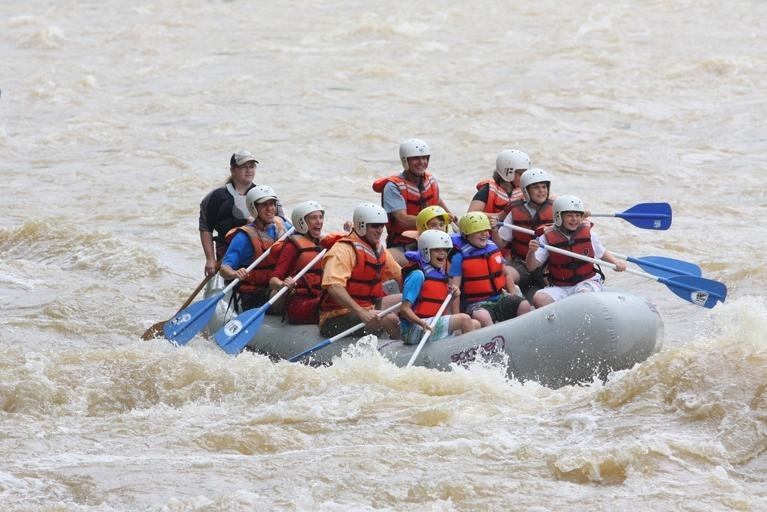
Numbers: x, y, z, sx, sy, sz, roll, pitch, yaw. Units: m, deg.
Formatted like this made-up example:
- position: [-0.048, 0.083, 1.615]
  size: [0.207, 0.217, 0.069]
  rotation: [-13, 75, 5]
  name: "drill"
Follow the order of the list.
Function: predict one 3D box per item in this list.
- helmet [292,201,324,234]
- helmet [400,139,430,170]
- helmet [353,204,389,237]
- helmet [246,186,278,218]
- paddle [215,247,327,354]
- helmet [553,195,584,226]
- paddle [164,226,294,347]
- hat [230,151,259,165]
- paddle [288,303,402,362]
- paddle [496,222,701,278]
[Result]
- position: [-1.342, -0.672, 24.498]
  size: [0.576, 0.447, 0.468]
  rotation: [-16, -3, 34]
  name: "helmet"
- position: [0.496, -1.866, 25.256]
  size: [0.473, 0.403, 0.574]
  rotation: [-2, 4, -36]
  name: "helmet"
- position: [-0.323, -0.690, 24.077]
  size: [0.659, 0.438, 0.434]
  rotation: [12, 21, 5]
  name: "helmet"
- position: [-2.016, -0.963, 24.897]
  size: [0.385, 0.455, 0.373]
  rotation: [-9, 82, 4]
  name: "helmet"
- position: [-1.847, 0.736, 24.510]
  size: [2.383, 0.098, 0.490]
  rotation: [-34, 69, -9]
  name: "paddle"
- position: [3.063, -0.801, 24.191]
  size: [0.493, 0.404, 0.553]
  rotation: [-4, 6, -36]
  name: "helmet"
- position: [-2.501, 0.409, 25.127]
  size: [3.200, 0.256, 0.549]
  rotation: [-36, 14, -18]
  name: "paddle"
- position: [-2.569, -1.760, 25.495]
  size: [0.296, 0.175, 0.388]
  rotation: [-6, -9, -42]
  name: "hat"
- position: [-0.582, 1.288, 24.052]
  size: [2.097, 0.147, 0.244]
  rotation: [-22, 60, 4]
  name: "paddle"
- position: [3.779, -0.095, 25.526]
  size: [3.549, 0.223, 0.622]
  rotation: [12, 63, -2]
  name: "paddle"
